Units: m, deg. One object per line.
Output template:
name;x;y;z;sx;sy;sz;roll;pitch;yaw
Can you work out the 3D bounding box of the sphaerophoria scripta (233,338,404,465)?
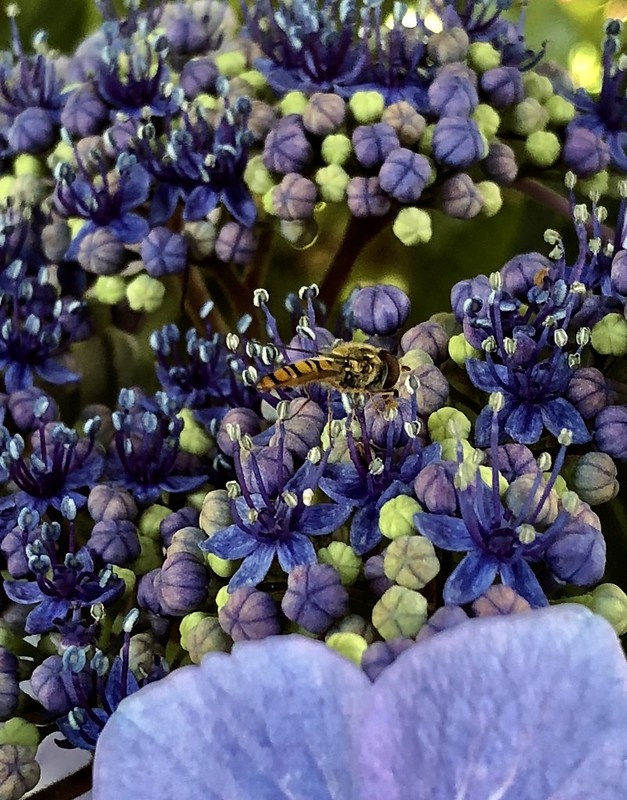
sphaerophoria scripta;0.016;-0.003;1.634;0.225;0.079;0.165;-8;24;-10
